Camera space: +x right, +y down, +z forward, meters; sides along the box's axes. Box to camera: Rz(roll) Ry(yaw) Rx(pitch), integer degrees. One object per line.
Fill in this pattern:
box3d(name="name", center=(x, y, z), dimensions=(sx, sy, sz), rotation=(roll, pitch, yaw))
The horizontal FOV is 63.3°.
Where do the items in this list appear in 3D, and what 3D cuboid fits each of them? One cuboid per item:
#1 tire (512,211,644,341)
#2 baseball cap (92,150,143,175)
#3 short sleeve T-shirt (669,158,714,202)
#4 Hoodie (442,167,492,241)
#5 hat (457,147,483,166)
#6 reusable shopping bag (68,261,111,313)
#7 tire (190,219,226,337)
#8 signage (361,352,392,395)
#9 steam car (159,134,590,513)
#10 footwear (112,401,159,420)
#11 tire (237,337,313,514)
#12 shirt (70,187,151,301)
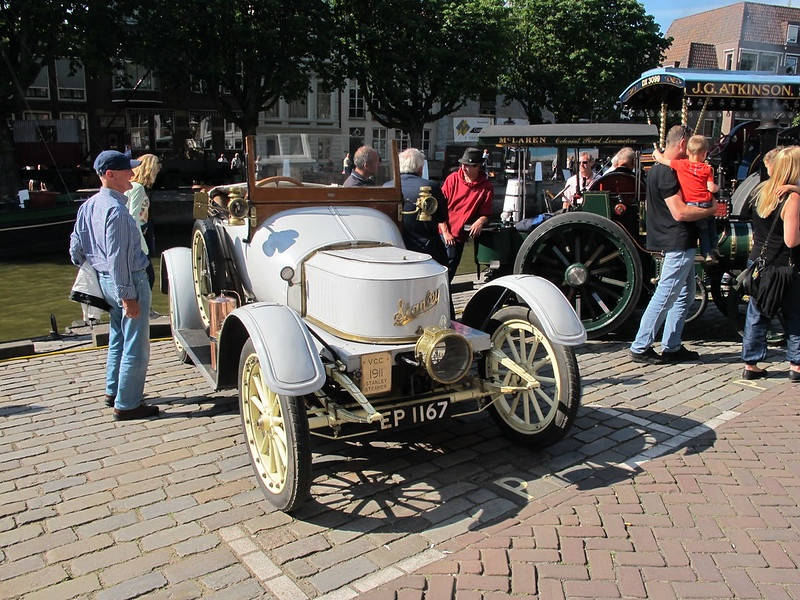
box3d(name="tire", center=(1.977, -0.297, 7.092), dimensions=(1.645, 1.551, 0.295), rotation=(-3, 6, 9))
box3d(name="baseball cap", center=(-2.518, -1.220, 5.714), dimensions=(0.286, 0.207, 0.250), rotation=(-6, 13, -26))
box3d(name="short sleeve T-shirt", center=(3.043, -1.248, 6.690), dimensions=(0.396, 0.450, 0.144), rotation=(0, -12, 5))
box3d(name="Hoodie", center=(0.851, -1.249, 8.354), dimensions=(0.728, 0.907, 0.386), rotation=(20, 36, 17))
box3d(name="hat", center=(0.872, -1.707, 7.895), dimensions=(0.271, 0.130, 0.325), rotation=(19, 9, 19))
box3d(name="reusable shopping bag", center=(-2.824, -0.125, 5.848), dimensions=(0.349, 0.489, 0.267), rotation=(7, -31, -29))
box3d(name="tire", center=(-1.847, -0.202, 6.280), dimensions=(0.212, 0.998, 0.897), rotation=(1, 29, -23))
box3d(name="signage", center=(-0.176, 0.508, 4.584), dimensions=(0.324, 0.328, 0.036), rotation=(-3, 8, -29))
box3d(name="steam car", center=(-0.713, 0.013, 6.050), dimensions=(2.317, 1.930, 4.071), rotation=(-4, 11, -31))
box3d(name="footwear", center=(-2.373, 1.024, 5.855), dimensions=(0.435, 0.169, 0.140), rotation=(-5, 12, -28))
box3d(name="tire", center=(-0.848, 0.861, 4.464), dimensions=(0.215, 1.011, 1.052), rotation=(-7, 18, -29))
box3d(name="shirt", center=(-2.572, -0.527, 5.836), dimensions=(1.093, 0.980, 0.493), rotation=(22, 22, 38))
